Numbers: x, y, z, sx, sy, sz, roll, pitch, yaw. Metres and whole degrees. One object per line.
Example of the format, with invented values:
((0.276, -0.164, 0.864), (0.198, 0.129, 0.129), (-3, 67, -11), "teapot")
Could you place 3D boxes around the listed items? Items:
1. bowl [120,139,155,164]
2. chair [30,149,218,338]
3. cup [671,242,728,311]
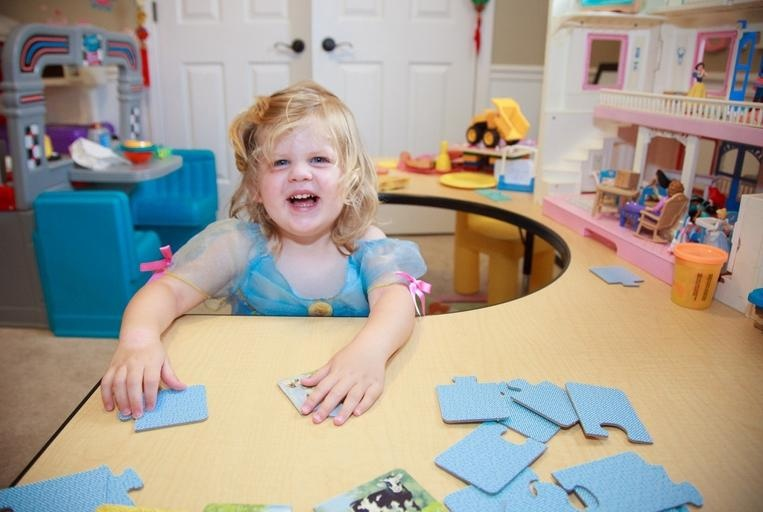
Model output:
((-1.208, -0.522, 2.619), (0.148, 0.067, 0.147), (3, 15, -1), "bowl")
((-1.099, -0.055, 2.147), (0.307, 0.478, 0.848), (1, 24, -1), "chair")
((0.758, 0.052, 1.345), (0.150, 0.162, 0.150), (1, 19, 0), "cup")
